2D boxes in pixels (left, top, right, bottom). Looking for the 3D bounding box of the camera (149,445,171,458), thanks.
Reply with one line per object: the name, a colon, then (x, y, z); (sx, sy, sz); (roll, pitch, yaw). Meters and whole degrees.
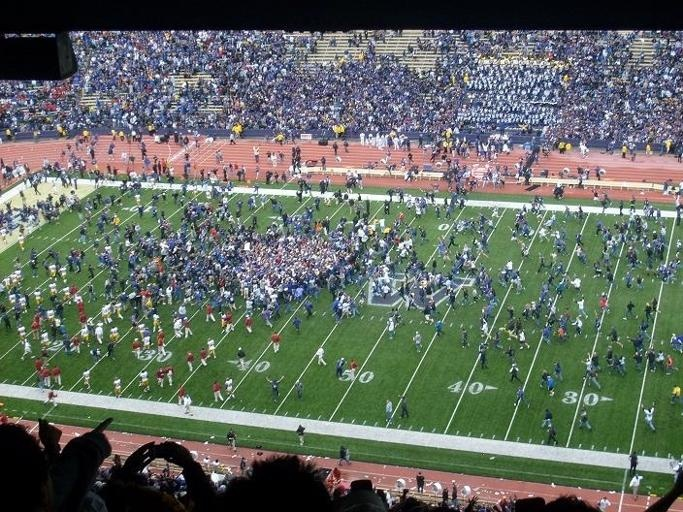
camera: (-2.457, 2.634, 13.002); (0.241, 0.210, 0.226); (-1, -8, 1)
